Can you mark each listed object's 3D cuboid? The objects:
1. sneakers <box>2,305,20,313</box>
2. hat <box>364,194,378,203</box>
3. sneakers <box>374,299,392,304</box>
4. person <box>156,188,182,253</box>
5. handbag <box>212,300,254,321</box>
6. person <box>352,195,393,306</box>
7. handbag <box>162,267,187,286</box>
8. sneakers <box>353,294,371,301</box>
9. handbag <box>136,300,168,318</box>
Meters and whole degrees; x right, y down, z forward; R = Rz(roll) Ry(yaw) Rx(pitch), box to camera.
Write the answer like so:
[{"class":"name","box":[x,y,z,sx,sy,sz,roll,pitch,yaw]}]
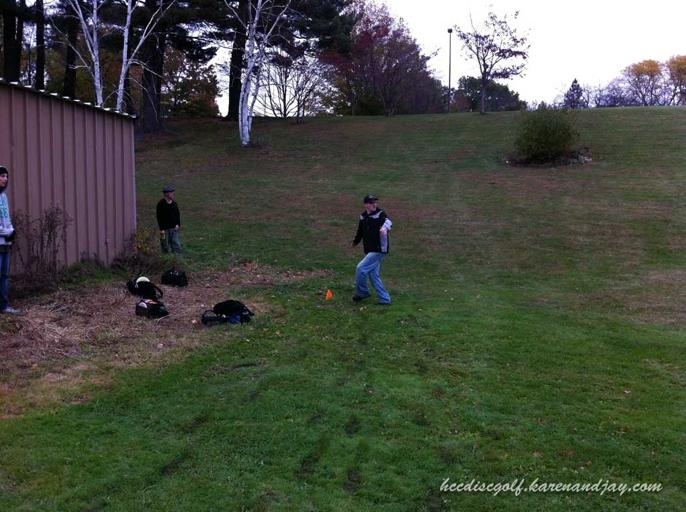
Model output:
[{"class":"sneakers","box":[-5.606,0.882,10.540,0.323,0.133,0.109,-1,7,-9]},{"class":"hat","box":[0.585,-1.200,12.896,0.205,0.164,0.371,4,11,11]},{"class":"sneakers","box":[0.845,0.961,13.124,0.334,0.130,0.112,-9,0,31]},{"class":"person","box":[-4.577,-0.969,16.424,0.574,1.749,0.920,-1,11,-14]},{"class":"handbag","box":[-2.045,1.067,12.097,0.452,0.215,0.545,7,-9,22]},{"class":"person","box":[0.631,-0.154,13.091,0.922,2.288,0.437,6,12,20]},{"class":"handbag","box":[-3.852,0.455,14.414,0.444,0.262,0.442,1,1,-2]},{"class":"sneakers","box":[0.405,0.856,13.344,0.370,0.165,0.134,-4,4,0]},{"class":"handbag","box":[-3.585,0.974,11.692,0.455,0.211,0.333,-1,-6,42]}]
